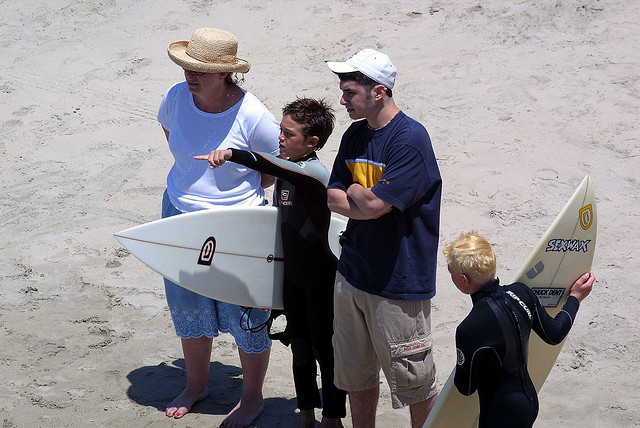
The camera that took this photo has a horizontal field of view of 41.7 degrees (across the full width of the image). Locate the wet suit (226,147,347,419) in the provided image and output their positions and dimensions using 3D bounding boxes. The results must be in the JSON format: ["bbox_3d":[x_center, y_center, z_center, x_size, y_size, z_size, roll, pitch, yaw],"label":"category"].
[{"bbox_3d":[-0.070,0.515,6.697,0.635,1.919,1.246,-12,37,-4],"label":"wet suit"}]

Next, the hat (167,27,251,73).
[{"bbox_3d":[-0.902,-1.372,7.013,0.587,0.255,0.626,14,14,-26],"label":"hat"}]

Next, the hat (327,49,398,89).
[{"bbox_3d":[0.327,-1.103,6.373,0.460,0.176,0.278,12,11,-3],"label":"hat"}]

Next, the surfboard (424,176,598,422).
[{"bbox_3d":[1.585,0.772,6.933,2.444,0.503,0.339,-55,24,-11],"label":"surfboard"}]

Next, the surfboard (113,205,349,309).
[{"bbox_3d":[-1.071,0.290,7.134,2.404,0.206,0.763,3,75,48],"label":"surfboard"}]
